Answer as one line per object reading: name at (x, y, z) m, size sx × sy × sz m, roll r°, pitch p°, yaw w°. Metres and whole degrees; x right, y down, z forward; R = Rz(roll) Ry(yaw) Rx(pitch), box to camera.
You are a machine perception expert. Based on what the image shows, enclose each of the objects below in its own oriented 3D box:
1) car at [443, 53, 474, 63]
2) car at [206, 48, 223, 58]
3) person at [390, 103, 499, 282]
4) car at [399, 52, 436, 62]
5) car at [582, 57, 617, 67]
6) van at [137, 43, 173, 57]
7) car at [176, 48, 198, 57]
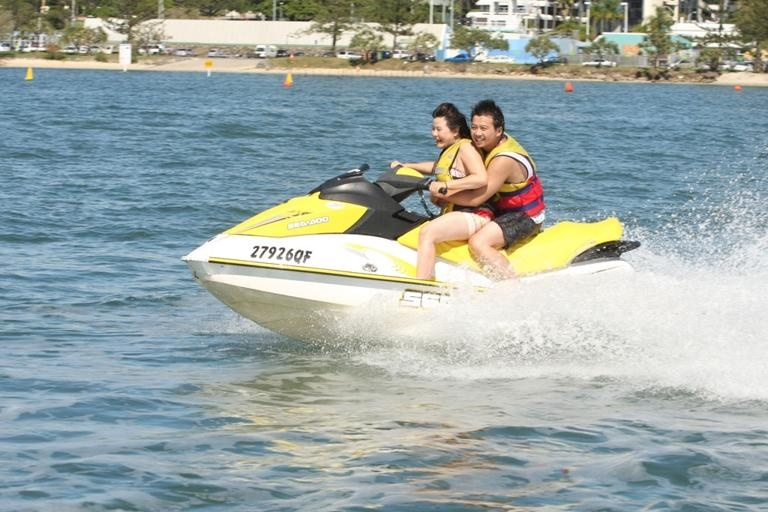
car at (6.821, -18.012, 88.663) m, size 4.503 × 0.566 × 1.736 m, roll 2°, pitch 7°, yaw 6°
car at (-15.640, -18.927, 90.749) m, size 2.426 × 0.413 × 2.057 m, roll 0°, pitch 2°, yaw 0°
person at (0.669, -0.611, 9.102) m, size 0.667 × 1.658 × 0.559 m, roll 2°, pitch 12°, yaw 4°
car at (3.133, -18.107, 88.798) m, size 4.136 × 0.448 × 1.735 m, roll 3°, pitch 8°, yaw 8°
car at (18.714, -16.739, 84.462) m, size 4.669 × 0.559 × 1.448 m, roll 2°, pitch 7°, yaw 9°
van at (-21.031, -18.870, 88.805) m, size 3.449 × 0.660 × 2.964 m, roll 1°, pitch 5°, yaw 7°
car at (-18.016, -18.401, 88.128) m, size 2.235 × 0.421 × 2.321 m, roll 1°, pitch 2°, yaw 15°
